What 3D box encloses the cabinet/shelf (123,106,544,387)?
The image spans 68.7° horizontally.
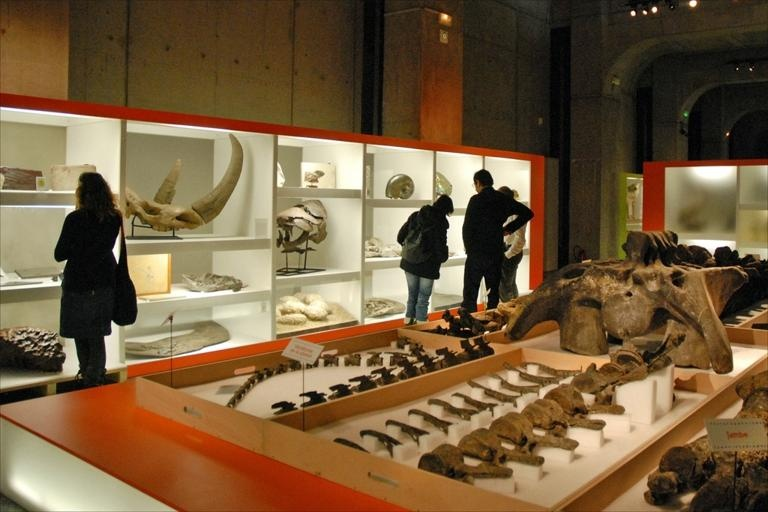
[{"bbox_3d":[-0.417,-0.238,6.485,5.053,2.276,1.345,-2,4,-34],"label":"cabinet/shelf"}]

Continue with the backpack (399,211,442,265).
[{"bbox_3d":[0.413,-0.170,6.352,0.426,0.544,0.594,3,4,27],"label":"backpack"}]

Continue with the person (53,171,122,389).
[{"bbox_3d":[-2.232,0.182,4.251,0.433,1.588,0.120,-1,3,-25],"label":"person"}]
